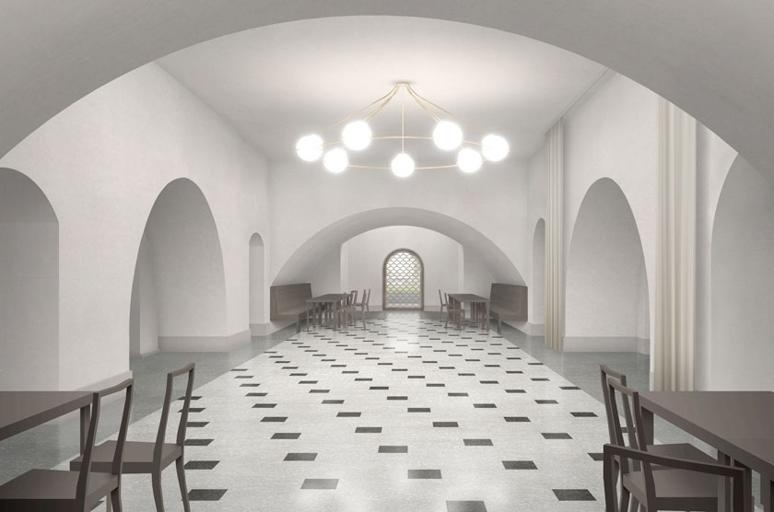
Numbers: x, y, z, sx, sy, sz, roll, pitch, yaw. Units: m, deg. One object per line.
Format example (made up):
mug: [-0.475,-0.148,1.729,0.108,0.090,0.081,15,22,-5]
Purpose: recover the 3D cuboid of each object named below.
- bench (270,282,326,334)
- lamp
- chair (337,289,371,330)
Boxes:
bench: [-2.850,1.344,15.097,0.897,1.348,4.071,1,-8,-5]
lamp: [0.401,-2.072,8.731,2.604,1.084,2.669,0,0,11]
chair: [-1.288,1.737,16.366,0.949,1.630,1.109,-3,-10,25]
